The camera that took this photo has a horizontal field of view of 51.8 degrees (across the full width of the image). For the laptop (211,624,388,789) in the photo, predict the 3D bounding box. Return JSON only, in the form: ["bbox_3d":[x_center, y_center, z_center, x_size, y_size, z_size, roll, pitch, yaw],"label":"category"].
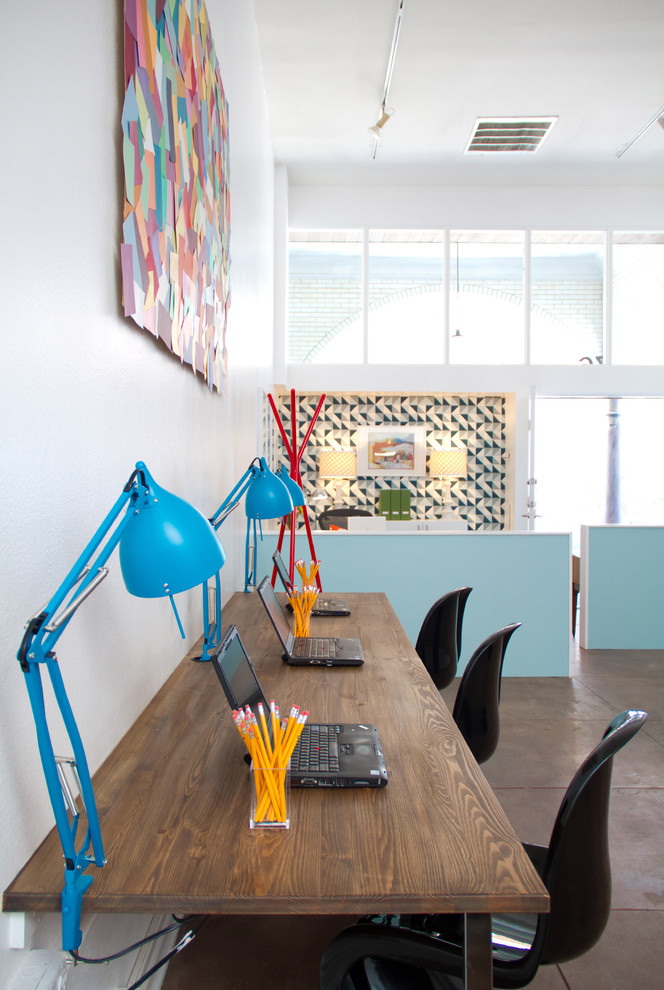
[{"bbox_3d":[-0.027,0.353,1.208,0.240,0.250,0.258,2,0,-4],"label":"laptop"}]

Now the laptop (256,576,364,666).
[{"bbox_3d":[-0.071,0.352,1.980,0.285,0.234,0.345,-3,-1,-11],"label":"laptop"}]

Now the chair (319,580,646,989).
[{"bbox_3d":[0.278,0.532,1.238,0.459,0.747,0.406,5,-4,21],"label":"chair"}]

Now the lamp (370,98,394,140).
[{"bbox_3d":[0.346,-2.779,4.973,0.082,0.222,0.202,17,-1,22],"label":"lamp"}]

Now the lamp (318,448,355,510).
[{"bbox_3d":[0.057,-0.186,7.065,0.394,0.604,0.109,-1,1,-7],"label":"lamp"}]
